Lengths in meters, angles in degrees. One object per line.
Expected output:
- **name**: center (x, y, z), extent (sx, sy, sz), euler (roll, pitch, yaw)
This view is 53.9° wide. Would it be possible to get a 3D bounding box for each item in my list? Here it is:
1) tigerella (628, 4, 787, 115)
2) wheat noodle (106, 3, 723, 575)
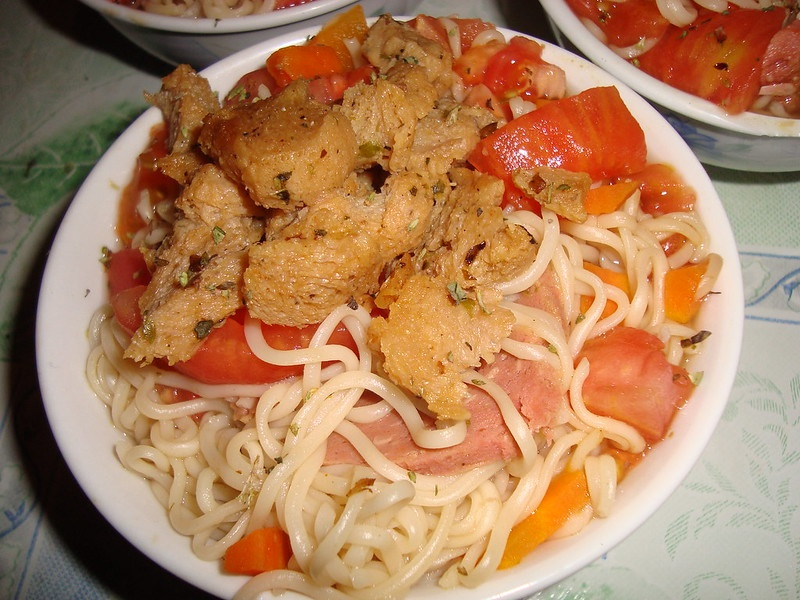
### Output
- **tigerella**: center (1.427, -1.035, 3.546), extent (0.537, 0.169, 0.575), euler (25, 85, 32)
- **wheat noodle**: center (0.023, 0.149, 3.758), extent (2.059, 1.153, 2.316), euler (3, 77, 1)
